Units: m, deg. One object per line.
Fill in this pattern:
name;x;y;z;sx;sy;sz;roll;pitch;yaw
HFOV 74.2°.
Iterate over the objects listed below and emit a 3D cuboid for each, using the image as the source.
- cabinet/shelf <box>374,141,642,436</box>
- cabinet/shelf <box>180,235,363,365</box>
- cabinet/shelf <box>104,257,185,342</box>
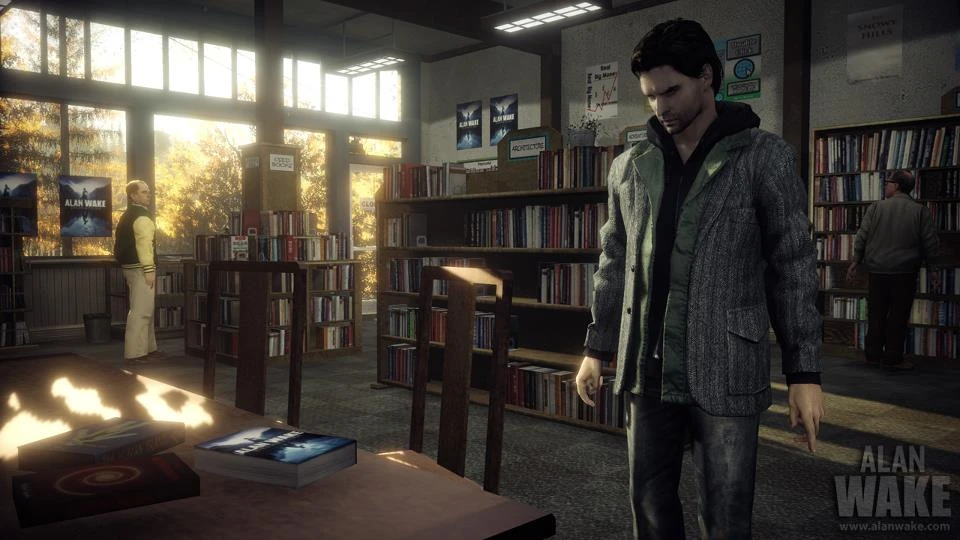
cabinet/shelf;0.271;0.196;5.692;0.667;1.932;3.232;2;1;-43
cabinet/shelf;-2.915;0.299;9.145;2.372;1.720;2.185;-2;3;-42
cabinet/shelf;-5.605;0.451;10.621;1.144;1.308;0.790;0;3;-27
